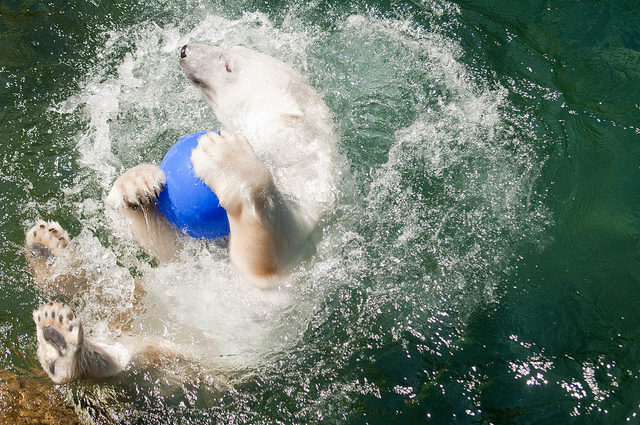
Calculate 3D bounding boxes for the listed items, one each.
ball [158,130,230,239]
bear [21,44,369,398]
[{"bbox_3d":[-1.177,-0.157,7.575,0.668,0.968,0.869,-11,32,-17],"label":"ball"},{"bbox_3d":[-1.298,0.456,8.488,3.283,3.143,3.737,-28,51,-23],"label":"bear"}]
